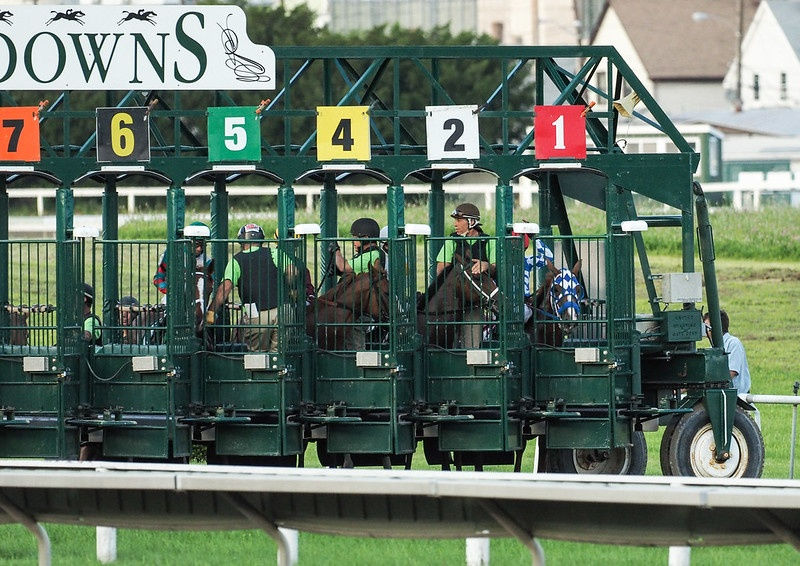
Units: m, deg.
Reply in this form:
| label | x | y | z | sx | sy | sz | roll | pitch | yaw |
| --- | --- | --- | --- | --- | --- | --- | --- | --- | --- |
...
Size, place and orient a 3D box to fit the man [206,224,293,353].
| label | x | y | z | sx | sy | sz | roll | pitch | yaw |
| --- | --- | --- | --- | --- | --- | --- | --- | --- | --- |
| man | -1.681 | 0.289 | 24.919 | 0.979 | 2.116 | 0.662 | -6 | 24 | 3 |

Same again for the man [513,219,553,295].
| label | x | y | z | sx | sy | sz | roll | pitch | yaw |
| --- | --- | --- | --- | --- | --- | --- | --- | --- | --- |
| man | 1.675 | -0.298 | 25.189 | 0.471 | 0.850 | 0.273 | 1 | 10 | 2 |

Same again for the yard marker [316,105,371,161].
| label | x | y | z | sx | sy | sz | roll | pitch | yaw |
| --- | --- | --- | --- | --- | --- | --- | --- | --- | --- |
| yard marker | -0.643 | -1.764 | 24.808 | 0.585 | 0.620 | 0.078 | 1 | -2 | -4 |

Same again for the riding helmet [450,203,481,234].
| label | x | y | z | sx | sy | sz | roll | pitch | yaw |
| --- | --- | --- | --- | --- | --- | --- | --- | --- | --- |
| riding helmet | 0.814 | -0.764 | 25.195 | 0.351 | 0.428 | 0.314 | 2 | 1 | 4 |

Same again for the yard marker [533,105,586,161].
| label | x | y | z | sx | sy | sz | roll | pitch | yaw |
| --- | --- | --- | --- | --- | --- | --- | --- | --- | --- |
| yard marker | 1.931 | -1.775 | 24.980 | 0.587 | 0.641 | 0.071 | 0 | -4 | 1 |

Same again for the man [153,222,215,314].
| label | x | y | z | sx | sy | sz | roll | pitch | yaw |
| --- | --- | --- | --- | --- | --- | --- | --- | --- | --- |
| man | -2.504 | -0.179 | 24.552 | 0.669 | 0.743 | 1.148 | -2 | -1 | -5 |

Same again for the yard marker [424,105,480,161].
| label | x | y | z | sx | sy | sz | roll | pitch | yaw |
| --- | --- | --- | --- | --- | --- | --- | --- | --- | --- |
| yard marker | 0.650 | -1.775 | 24.890 | 0.586 | 0.641 | 0.066 | -1 | -4 | -1 |

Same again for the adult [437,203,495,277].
| label | x | y | z | sx | sy | sz | roll | pitch | yaw |
| --- | --- | --- | --- | --- | --- | --- | --- | --- | --- |
| adult | 0.826 | -0.446 | 24.811 | 0.760 | 0.994 | 0.594 | -1 | -5 | 9 |

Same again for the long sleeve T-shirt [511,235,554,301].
| label | x | y | z | sx | sy | sz | roll | pitch | yaw |
| --- | --- | --- | --- | --- | --- | --- | --- | --- | --- |
| long sleeve T-shirt | 1.625 | -0.206 | 25.142 | 0.378 | 0.783 | 0.459 | 3 | 8 | 40 |

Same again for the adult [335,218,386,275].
| label | x | y | z | sx | sy | sz | roll | pitch | yaw |
| --- | --- | --- | --- | --- | --- | --- | --- | --- | --- |
| adult | -0.463 | -0.418 | 24.791 | 0.611 | 0.721 | 0.501 | 4 | 9 | 3 |

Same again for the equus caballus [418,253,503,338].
| label | x | y | z | sx | sy | sz | roll | pitch | yaw |
| --- | --- | --- | --- | --- | --- | --- | --- | --- | --- |
| equus caballus | 0.680 | 0.201 | 24.619 | 1.007 | 0.865 | 0.600 | -2 | -1 | 12 |

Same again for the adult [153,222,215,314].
| label | x | y | z | sx | sy | sz | roll | pitch | yaw |
| --- | --- | --- | --- | --- | --- | --- | --- | --- | --- |
| adult | -2.504 | -0.179 | 24.552 | 0.669 | 0.743 | 1.148 | -2 | -1 | -5 |

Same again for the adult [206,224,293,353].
| label | x | y | z | sx | sy | sz | roll | pitch | yaw |
| --- | --- | --- | --- | --- | --- | --- | --- | --- | --- |
| adult | -1.679 | 0.258 | 24.938 | 0.990 | 2.141 | 0.646 | -10 | 30 | -7 |

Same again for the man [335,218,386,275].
| label | x | y | z | sx | sy | sz | roll | pitch | yaw |
| --- | --- | --- | --- | --- | --- | --- | --- | --- | --- |
| man | -0.467 | -0.428 | 24.811 | 0.609 | 0.715 | 0.484 | 2 | 9 | -6 |

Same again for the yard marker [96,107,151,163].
| label | x | y | z | sx | sy | sz | roll | pitch | yaw |
| --- | --- | --- | --- | --- | --- | --- | --- | --- | --- |
| yard marker | -3.258 | -1.755 | 24.858 | 0.587 | 0.647 | 0.098 | 0 | -4 | -2 |

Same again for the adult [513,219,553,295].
| label | x | y | z | sx | sy | sz | roll | pitch | yaw |
| --- | --- | --- | --- | --- | --- | --- | --- | --- | --- |
| adult | 1.646 | -0.121 | 25.309 | 0.289 | 0.823 | 1.392 | -8 | 2 | 9 |

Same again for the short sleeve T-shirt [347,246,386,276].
| label | x | y | z | sx | sy | sz | roll | pitch | yaw |
| --- | --- | --- | --- | --- | --- | --- | --- | --- | --- |
| short sleeve T-shirt | -0.364 | -0.257 | 24.582 | 0.377 | 0.312 | 0.168 | -13 | -41 | 7 |

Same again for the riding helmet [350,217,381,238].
| label | x | y | z | sx | sy | sz | roll | pitch | yaw |
| --- | --- | --- | --- | --- | --- | --- | --- | --- | --- |
| riding helmet | -0.387 | -0.647 | 24.702 | 0.265 | 0.225 | 0.220 | 5 | -2 | 7 |

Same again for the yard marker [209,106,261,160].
| label | x | y | z | sx | sy | sz | roll | pitch | yaw |
| --- | --- | --- | --- | --- | --- | --- | --- | --- | --- |
| yard marker | -1.935 | -1.767 | 24.849 | 0.581 | 0.660 | 0.083 | 0 | 1 | -8 |

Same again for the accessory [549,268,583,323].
| label | x | y | z | sx | sy | sz | roll | pitch | yaw |
| --- | --- | --- | --- | --- | --- | --- | --- | --- | --- |
| accessory | 2.087 | 0.165 | 24.998 | 0.212 | 0.649 | 0.385 | 7 | -14 | -28 |

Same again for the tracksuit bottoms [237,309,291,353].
| label | x | y | z | sx | sy | sz | roll | pitch | yaw |
| --- | --- | --- | --- | --- | --- | --- | --- | --- | --- |
| tracksuit bottoms | -1.566 | 0.540 | 24.427 | 0.427 | 0.753 | 0.744 | 3 | -7 | -25 |
